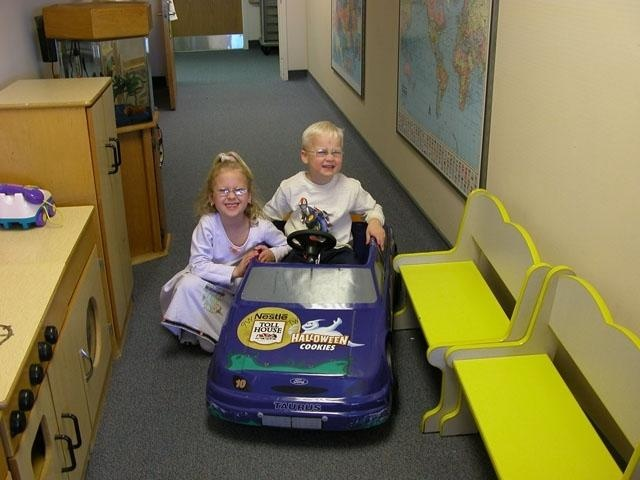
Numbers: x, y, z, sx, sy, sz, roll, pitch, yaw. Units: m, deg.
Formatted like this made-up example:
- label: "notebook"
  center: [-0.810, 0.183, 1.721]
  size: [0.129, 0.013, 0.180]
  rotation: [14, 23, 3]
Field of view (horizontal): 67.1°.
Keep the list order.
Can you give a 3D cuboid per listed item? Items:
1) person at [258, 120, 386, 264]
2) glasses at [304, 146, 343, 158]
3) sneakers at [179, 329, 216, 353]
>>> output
- label: "person"
  center: [-0.010, -0.244, 2.654]
  size: [0.724, 0.818, 0.463]
  rotation: [0, 14, -9]
- label: "glasses"
  center: [0.027, -0.474, 2.594]
  size: [0.177, 0.061, 0.060]
  rotation: [-4, 27, -3]
- label: "sneakers"
  center: [-0.634, 0.523, 2.507]
  size: [0.156, 0.134, 0.066]
  rotation: [22, 57, 4]
